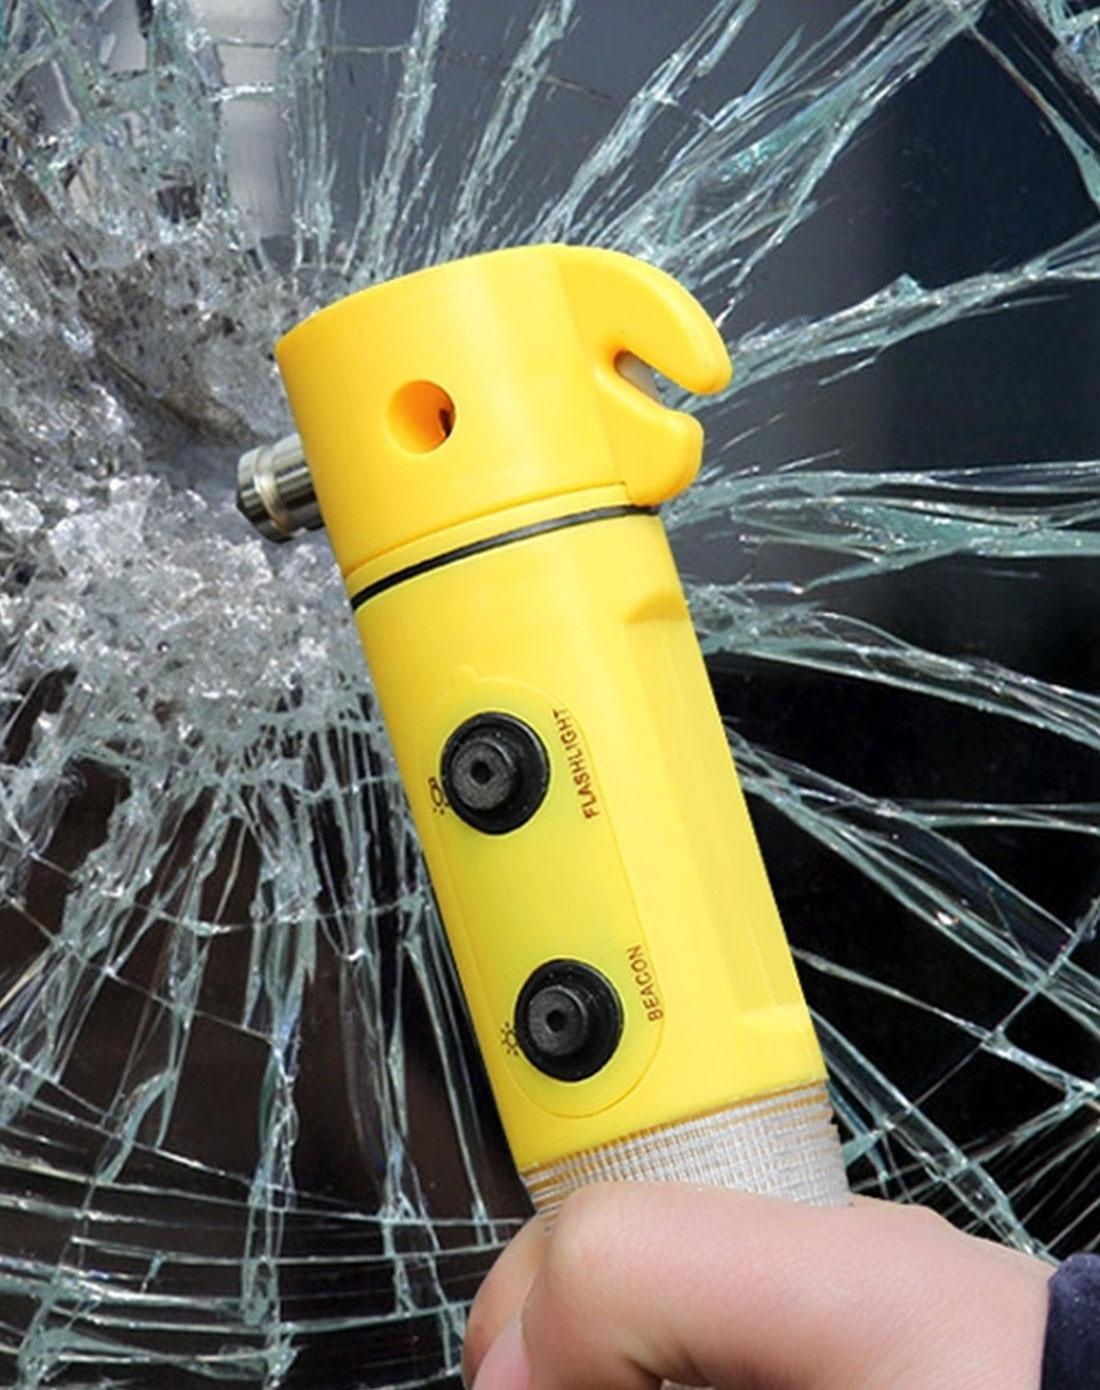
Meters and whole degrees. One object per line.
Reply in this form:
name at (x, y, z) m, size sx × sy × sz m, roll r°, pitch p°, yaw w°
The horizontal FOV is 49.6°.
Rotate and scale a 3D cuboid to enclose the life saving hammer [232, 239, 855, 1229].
life saving hammer at (0.018, 0.013, 0.371) m, size 0.128 × 0.279 × 0.065 m, roll -15°, pitch 4°, yaw -9°
